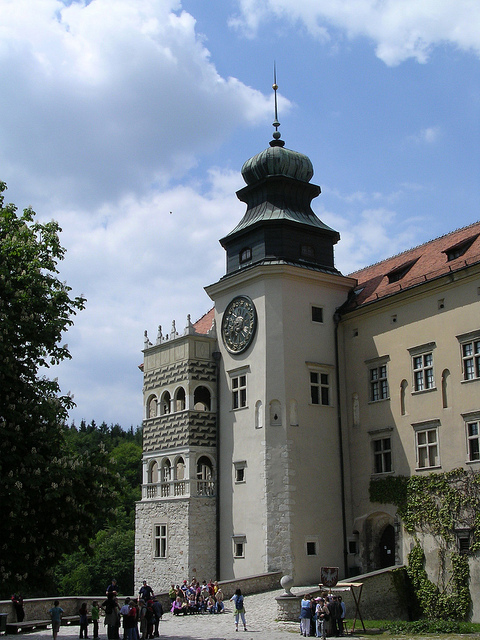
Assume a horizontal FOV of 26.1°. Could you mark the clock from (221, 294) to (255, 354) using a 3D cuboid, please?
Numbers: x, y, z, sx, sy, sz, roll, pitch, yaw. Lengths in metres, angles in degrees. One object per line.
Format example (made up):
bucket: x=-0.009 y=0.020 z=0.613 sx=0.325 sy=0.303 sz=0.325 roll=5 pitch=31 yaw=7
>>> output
clock: x=-0.015 y=0.202 z=40.262 sx=0.286 sy=2.280 sz=2.147 roll=7 pitch=-2 yaw=-23
